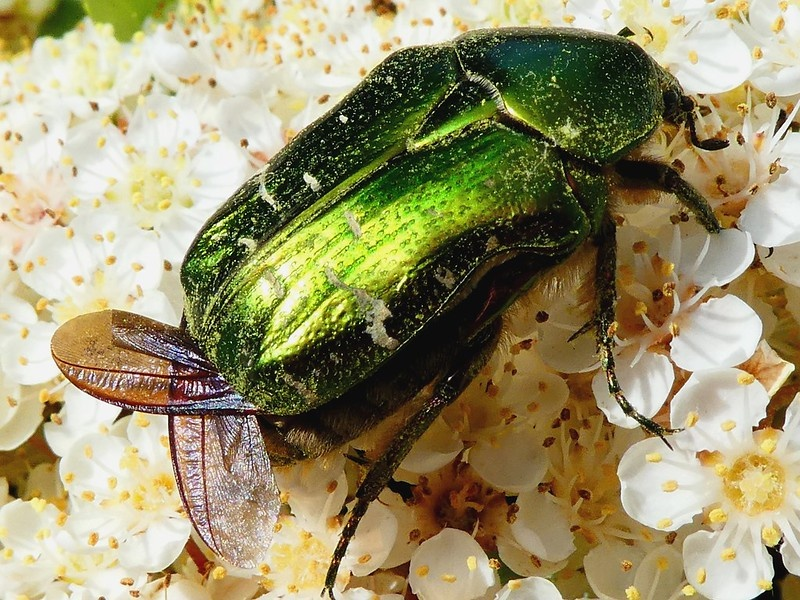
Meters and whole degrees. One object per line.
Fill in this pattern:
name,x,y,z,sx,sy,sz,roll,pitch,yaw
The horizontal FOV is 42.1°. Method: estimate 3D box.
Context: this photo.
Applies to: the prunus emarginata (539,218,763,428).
prunus emarginata,0.698,0.088,2.846,0.348,0.413,0.129,35,79,7
